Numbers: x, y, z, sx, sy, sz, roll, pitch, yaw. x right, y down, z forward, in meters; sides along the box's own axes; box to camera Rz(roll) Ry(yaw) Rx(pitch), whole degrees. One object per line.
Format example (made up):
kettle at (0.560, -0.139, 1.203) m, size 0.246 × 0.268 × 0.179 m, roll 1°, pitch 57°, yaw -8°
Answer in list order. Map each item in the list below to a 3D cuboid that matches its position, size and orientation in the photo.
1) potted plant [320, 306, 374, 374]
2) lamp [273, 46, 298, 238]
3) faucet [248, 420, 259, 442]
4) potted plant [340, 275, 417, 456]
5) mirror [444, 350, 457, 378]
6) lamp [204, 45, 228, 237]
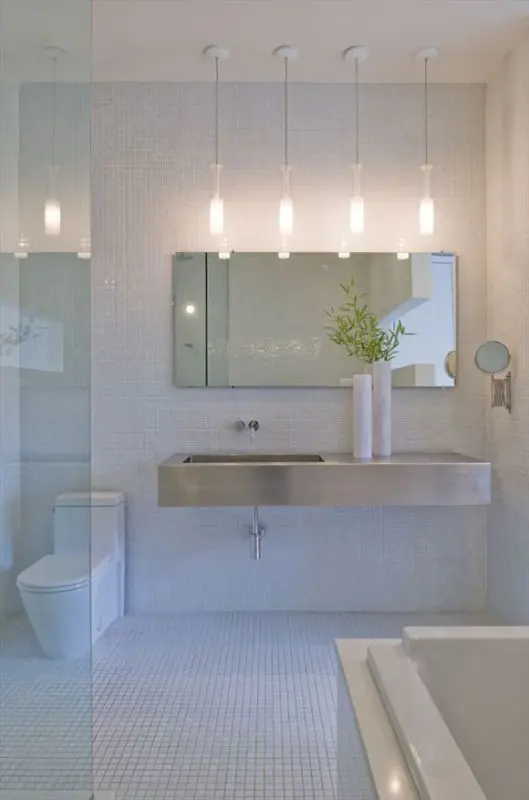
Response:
potted plant at (0.416, -0.313, 3.057) m, size 0.155 × 0.263 × 0.175 m, roll -4°, pitch -15°, yaw -15°
lamp at (0.096, -1.122, 2.906) m, size 0.102 × 0.781 × 0.342 m, roll 0°, pitch 2°, yaw 2°
faucet at (-0.051, 0.148, 3.043) m, size 0.053 × 0.102 × 0.065 m, roll 0°, pitch 2°, yaw -4°
potted plant at (0.512, -0.147, 3.004) m, size 0.348 × 0.785 × 0.269 m, roll -1°, pitch 2°, yaw -29°
mirror at (0.891, -0.169, 3.065) m, size 0.019 × 0.096 × 0.092 m, roll 3°, pitch 37°, yaw 28°
lamp at (-0.219, -1.126, 2.895) m, size 0.098 × 0.771 × 0.343 m, roll 0°, pitch 2°, yaw -5°
